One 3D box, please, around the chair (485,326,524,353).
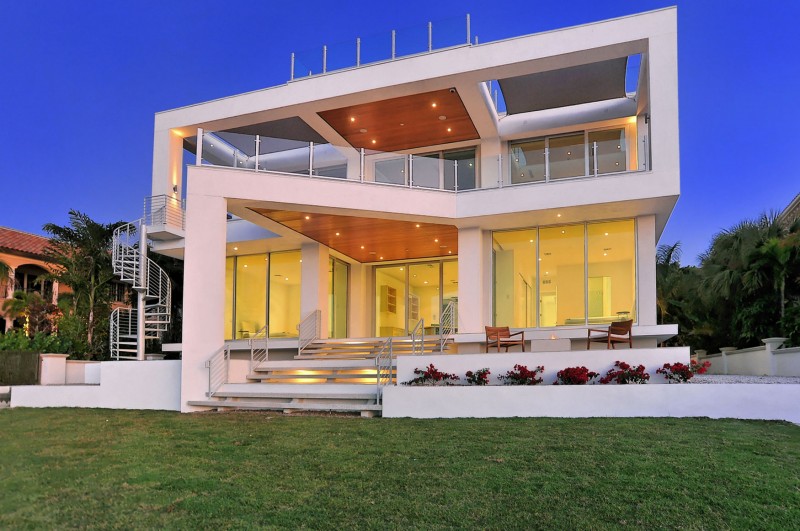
[{"bbox_3d":[3.486,2.443,22.126,1.048,1.113,1.261,2,-8,-19],"label":"chair"}]
